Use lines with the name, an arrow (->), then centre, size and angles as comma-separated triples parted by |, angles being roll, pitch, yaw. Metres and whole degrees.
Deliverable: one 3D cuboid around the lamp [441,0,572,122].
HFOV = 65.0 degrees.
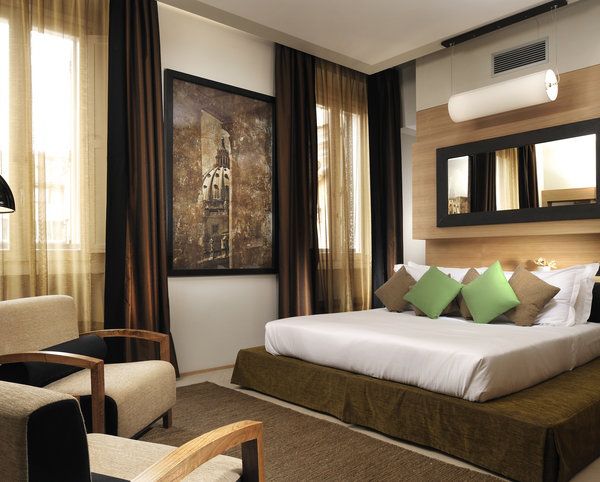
lamp -> 2.056, -1.784, 4.608 | 0.916, 0.801, 0.226 | -2, -7, 44
